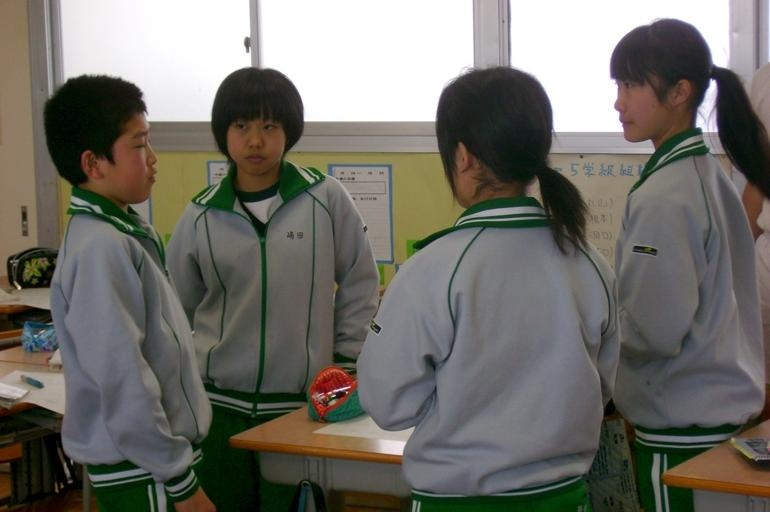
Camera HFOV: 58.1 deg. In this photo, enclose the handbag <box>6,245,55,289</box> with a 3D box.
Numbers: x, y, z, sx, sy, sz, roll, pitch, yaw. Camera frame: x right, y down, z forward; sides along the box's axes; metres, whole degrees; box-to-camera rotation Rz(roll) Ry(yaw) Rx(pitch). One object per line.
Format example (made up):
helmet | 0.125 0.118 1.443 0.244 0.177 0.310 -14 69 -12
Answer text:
handbag | -1.926 0.062 3.798 0.229 0.176 0.131 1 12 -17
